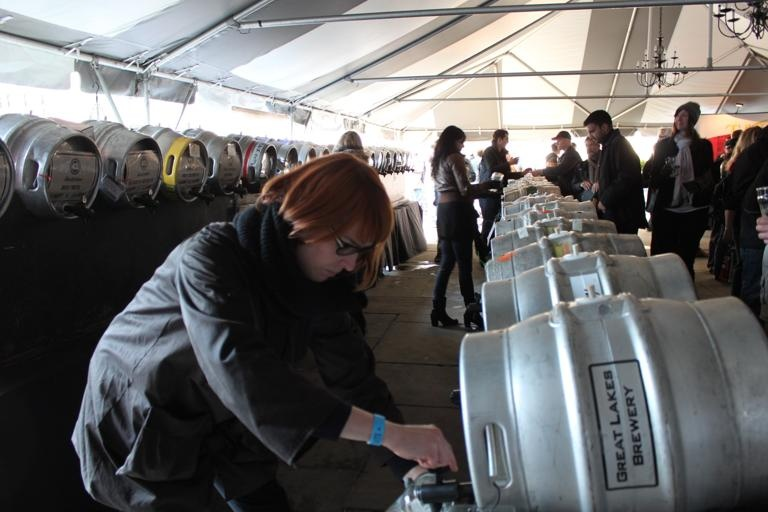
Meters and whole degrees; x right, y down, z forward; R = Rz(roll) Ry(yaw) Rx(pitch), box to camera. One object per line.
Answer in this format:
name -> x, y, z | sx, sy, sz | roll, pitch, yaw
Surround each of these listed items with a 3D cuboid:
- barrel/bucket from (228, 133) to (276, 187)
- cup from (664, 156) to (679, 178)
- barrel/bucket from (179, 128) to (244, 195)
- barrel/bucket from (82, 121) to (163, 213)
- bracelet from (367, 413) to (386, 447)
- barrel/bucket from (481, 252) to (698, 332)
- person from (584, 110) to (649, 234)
barrel/bucket -> -1.378, -1.068, 5.141 | 0.639, 0.484, 0.478 | 17, 28, 23
cup -> 3.434, -1.063, 5.437 | 0.180, 0.223, 0.088 | -1, 5, -13
barrel/bucket -> -1.644, -0.869, 4.318 | 0.707, 0.487, 0.475 | 7, 25, 35
barrel/bucket -> -1.931, -0.639, 3.338 | 0.724, 0.497, 0.487 | 14, 2, 39
bracelet -> -0.025, 0.586, 1.522 | 0.067, 0.100, 0.090 | 12, -24, -11
barrel/bucket -> 0.897, 0.137, 2.146 | 0.699, 0.399, 0.648 | -1, -7, 0
person -> 2.643, -0.984, 5.223 | 0.626, 1.435, 0.487 | 3, 5, 29
